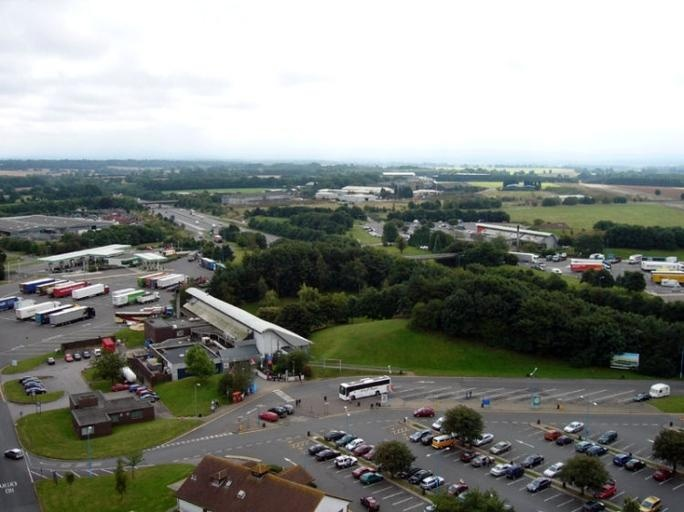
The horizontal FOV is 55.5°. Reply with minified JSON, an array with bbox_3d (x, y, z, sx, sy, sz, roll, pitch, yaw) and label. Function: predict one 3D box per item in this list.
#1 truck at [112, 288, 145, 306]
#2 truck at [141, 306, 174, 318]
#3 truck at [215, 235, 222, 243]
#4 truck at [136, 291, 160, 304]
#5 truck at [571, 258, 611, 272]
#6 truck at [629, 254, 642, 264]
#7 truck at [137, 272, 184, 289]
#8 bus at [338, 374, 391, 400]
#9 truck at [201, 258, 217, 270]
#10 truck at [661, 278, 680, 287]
[{"bbox_3d":[-33.538,6.511,101.874,2.150,2.657,7.001,6,6,31],"label":"truck"},{"bbox_3d":[-26.684,8.200,95.320,3.661,1.264,2.127,0,7,-11],"label":"truck"},{"bbox_3d":[-29.432,-3.653,154.713,1.490,0.951,2.275,-1,10,-25],"label":"truck"},{"bbox_3d":[-30.655,6.607,102.893,1.284,1.122,3.477,9,14,35],"label":"truck"},{"bbox_3d":[43.253,1.755,114.349,7.111,2.126,2.242,2,9,9],"label":"truck"},{"bbox_3d":[55.437,0.776,123.512,2.671,0.644,1.784,-11,21,-34],"label":"truck"},{"bbox_3d":[-30.651,4.329,112.953,4.827,1.976,8.701,5,9,34],"label":"truck"},{"bbox_3d":[1.905,13.926,68.898,7.192,1.799,1.879,-6,14,-23],"label":"bus"},{"bbox_3d":[-26.246,1.631,127.249,1.861,1.345,5.916,-4,15,-39],"label":"truck"},{"bbox_3d":[52.224,4.364,104.514,2.982,1.177,1.058,-1,15,9],"label":"truck"}]
